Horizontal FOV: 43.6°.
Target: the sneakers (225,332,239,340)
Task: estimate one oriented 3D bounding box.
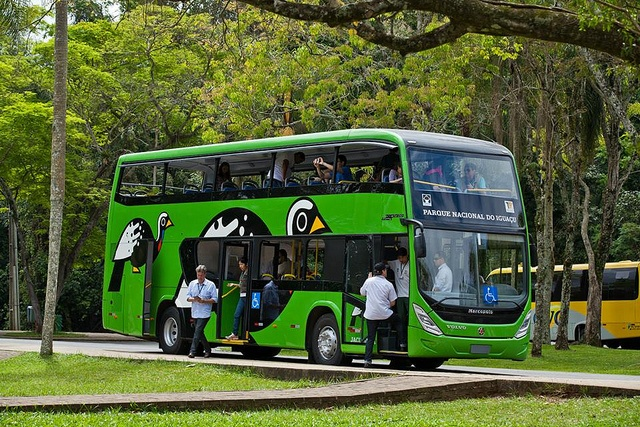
[{"bbox_3d":[-2.569,3.559,23.193,0.348,0.188,0.154,1,0,22],"label":"sneakers"}]

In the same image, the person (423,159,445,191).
[{"bbox_3d":[2.871,-0.943,20.370,0.476,1.022,0.680,-6,-7,32],"label":"person"}]

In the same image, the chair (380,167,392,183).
[{"bbox_3d":[1.717,-1.008,21.047,0.245,0.382,0.350,4,-10,-8],"label":"chair"}]

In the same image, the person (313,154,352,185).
[{"bbox_3d":[0.353,-1.221,22.182,0.473,0.399,0.777,10,8,-32],"label":"person"}]

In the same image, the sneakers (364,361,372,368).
[{"bbox_3d":[1.184,3.765,19.964,0.137,0.203,0.436,-1,-12,5],"label":"sneakers"}]

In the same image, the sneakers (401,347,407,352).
[{"bbox_3d":[2.106,3.395,20.147,0.135,0.146,0.102,2,3,35],"label":"sneakers"}]

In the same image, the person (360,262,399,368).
[{"bbox_3d":[1.442,2.545,19.992,0.864,2.570,0.436,1,-7,4],"label":"person"}]
